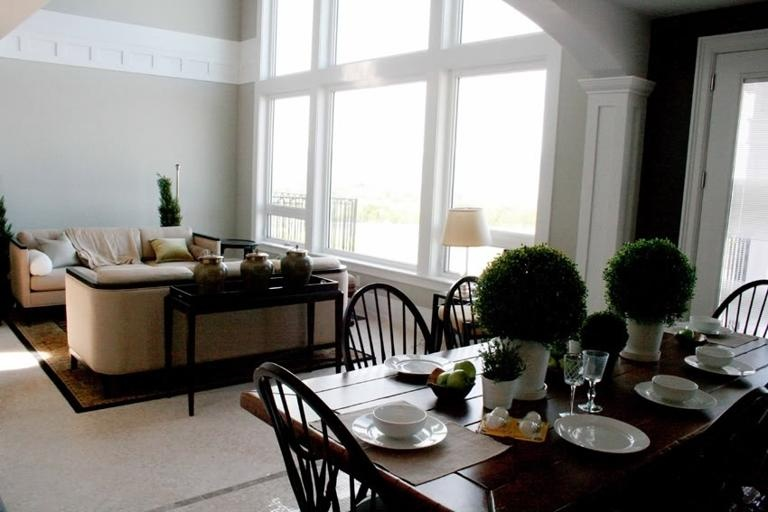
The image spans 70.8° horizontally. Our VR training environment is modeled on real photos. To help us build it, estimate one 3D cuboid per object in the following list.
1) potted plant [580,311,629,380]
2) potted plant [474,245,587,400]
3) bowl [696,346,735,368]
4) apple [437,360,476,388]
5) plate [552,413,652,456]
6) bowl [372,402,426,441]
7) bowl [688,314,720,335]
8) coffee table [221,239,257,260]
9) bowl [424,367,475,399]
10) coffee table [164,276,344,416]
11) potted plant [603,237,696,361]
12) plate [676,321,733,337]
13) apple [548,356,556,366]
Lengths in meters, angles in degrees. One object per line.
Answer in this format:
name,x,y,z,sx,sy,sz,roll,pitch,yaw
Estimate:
potted plant,1.129,0.460,2.793,0.275,0.322,0.261,-5,-24,44
potted plant,0.696,0.321,2.669,0.632,0.710,0.594,13,-15,-33
bowl,1.782,0.529,2.951,0.143,0.062,0.140,0,4,0
apple,0.340,0.556,2.505,0.103,0.075,0.166,3,-8,-19
plate,0.914,0.754,2.293,0.370,0.089,0.214,3,8,21
bowl,0.061,0.706,2.267,0.219,0.094,0.219,2,6,0
bowl,2.058,0.423,3.493,0.154,0.071,0.151,-1,1,0
coffee table,-2.063,-0.108,7.647,0.324,0.358,0.327,11,13,39
bowl,0.301,0.600,2.502,0.165,0.093,0.171,1,1,0
coffee table,-1.077,0.660,4.122,1.038,0.668,0.393,-5,12,-38
potted plant,1.559,0.265,3.114,0.518,0.618,0.548,13,-2,-16
plate,2.047,0.457,3.447,0.203,0.045,0.199,-1,4,-5
apple,0.863,0.551,2.796,0.039,0.057,0.017,-18,18,21
